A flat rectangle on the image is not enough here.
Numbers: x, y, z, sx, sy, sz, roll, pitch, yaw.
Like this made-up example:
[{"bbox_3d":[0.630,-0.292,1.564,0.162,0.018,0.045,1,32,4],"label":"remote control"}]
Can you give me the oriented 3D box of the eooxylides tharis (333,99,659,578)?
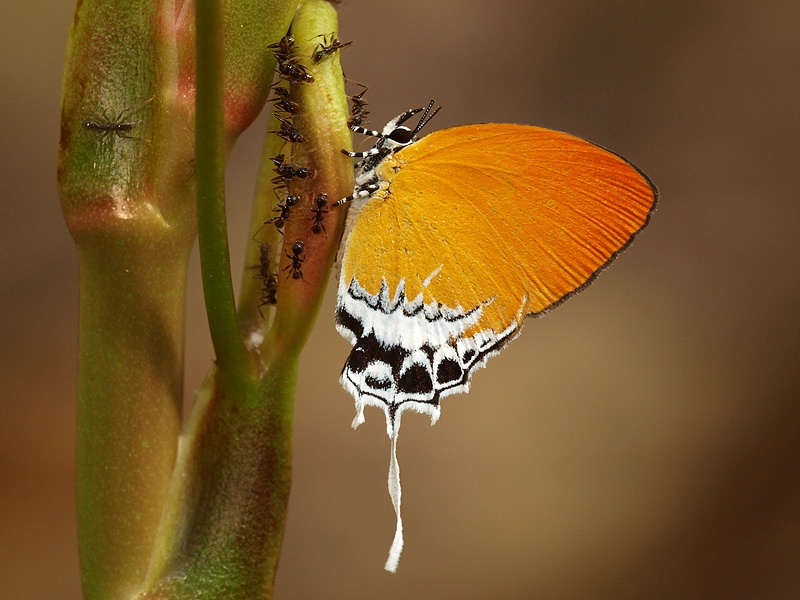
[{"bbox_3d":[0.048,0.036,0.869,0.220,0.361,0.364,7,-46,36],"label":"eooxylides tharis"}]
